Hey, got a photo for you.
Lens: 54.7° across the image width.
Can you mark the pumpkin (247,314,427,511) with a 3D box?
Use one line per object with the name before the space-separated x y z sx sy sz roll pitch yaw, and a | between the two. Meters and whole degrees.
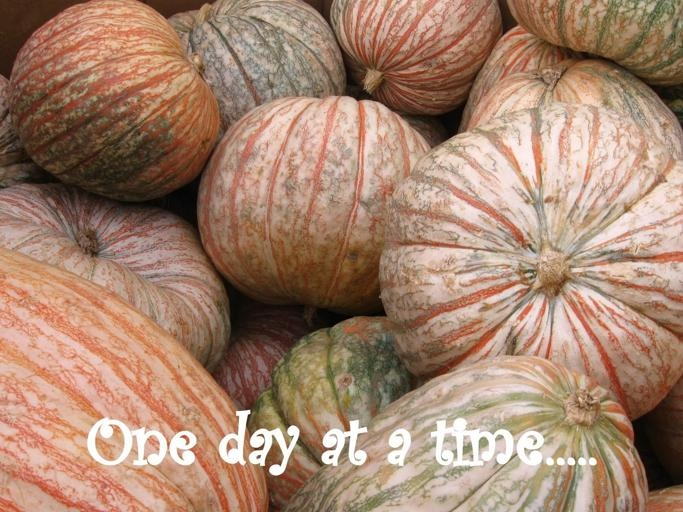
pumpkin | -0.014 0.345 1.687 0.285 0.379 0.482 47 37 6
